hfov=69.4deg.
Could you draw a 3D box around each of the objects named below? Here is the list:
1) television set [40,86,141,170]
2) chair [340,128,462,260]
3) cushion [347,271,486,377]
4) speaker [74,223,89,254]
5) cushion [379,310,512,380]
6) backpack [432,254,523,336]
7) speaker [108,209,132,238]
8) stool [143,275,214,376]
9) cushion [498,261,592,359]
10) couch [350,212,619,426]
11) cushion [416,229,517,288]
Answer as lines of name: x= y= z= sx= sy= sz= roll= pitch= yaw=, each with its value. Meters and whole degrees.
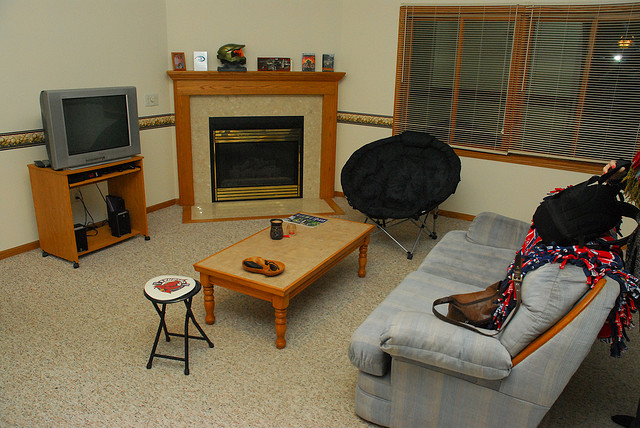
television set: x=-2.393 y=-0.871 z=4.711 sx=0.496 sy=0.735 sz=0.916 roll=12 pitch=21 yaw=31
chair: x=0.783 y=-0.223 z=5.054 sx=1.404 sy=1.359 sz=1.283 roll=7 pitch=21 yaw=30
cushion: x=0.609 y=0.705 z=3.226 sx=0.620 sy=0.197 sz=0.873 roll=8 pitch=31 yaw=32
speaker: x=-2.376 y=0.238 z=4.603 sx=0.098 sy=0.260 sz=0.229 roll=-8 pitch=23 yaw=-23
cushion: x=0.721 y=0.739 z=2.679 sx=0.497 sy=0.154 sz=0.408 roll=7 pitch=18 yaw=8
backpack: x=0.977 y=0.490 z=3.039 sx=0.607 sy=0.533 sz=0.383 roll=14 pitch=18 yaw=19
speaker: x=-2.136 y=0.092 z=4.943 sx=0.208 sy=0.291 sz=0.125 roll=-8 pitch=24 yaw=-23
stool: x=-1.066 y=0.862 z=3.500 sx=0.510 sy=0.696 sz=0.468 roll=7 pitch=25 yaw=7
cushion: x=1.241 y=0.530 z=2.624 sx=0.419 sy=0.548 sz=0.214 roll=-5 pitch=23 yaw=-16
couch: x=1.097 y=0.702 z=3.121 sx=1.334 sy=1.209 sz=1.336 roll=12 pitch=23 yaw=25
cushion: x=1.181 y=0.376 z=3.720 sx=0.472 sy=0.153 sz=0.481 roll=9 pitch=32 yaw=29
